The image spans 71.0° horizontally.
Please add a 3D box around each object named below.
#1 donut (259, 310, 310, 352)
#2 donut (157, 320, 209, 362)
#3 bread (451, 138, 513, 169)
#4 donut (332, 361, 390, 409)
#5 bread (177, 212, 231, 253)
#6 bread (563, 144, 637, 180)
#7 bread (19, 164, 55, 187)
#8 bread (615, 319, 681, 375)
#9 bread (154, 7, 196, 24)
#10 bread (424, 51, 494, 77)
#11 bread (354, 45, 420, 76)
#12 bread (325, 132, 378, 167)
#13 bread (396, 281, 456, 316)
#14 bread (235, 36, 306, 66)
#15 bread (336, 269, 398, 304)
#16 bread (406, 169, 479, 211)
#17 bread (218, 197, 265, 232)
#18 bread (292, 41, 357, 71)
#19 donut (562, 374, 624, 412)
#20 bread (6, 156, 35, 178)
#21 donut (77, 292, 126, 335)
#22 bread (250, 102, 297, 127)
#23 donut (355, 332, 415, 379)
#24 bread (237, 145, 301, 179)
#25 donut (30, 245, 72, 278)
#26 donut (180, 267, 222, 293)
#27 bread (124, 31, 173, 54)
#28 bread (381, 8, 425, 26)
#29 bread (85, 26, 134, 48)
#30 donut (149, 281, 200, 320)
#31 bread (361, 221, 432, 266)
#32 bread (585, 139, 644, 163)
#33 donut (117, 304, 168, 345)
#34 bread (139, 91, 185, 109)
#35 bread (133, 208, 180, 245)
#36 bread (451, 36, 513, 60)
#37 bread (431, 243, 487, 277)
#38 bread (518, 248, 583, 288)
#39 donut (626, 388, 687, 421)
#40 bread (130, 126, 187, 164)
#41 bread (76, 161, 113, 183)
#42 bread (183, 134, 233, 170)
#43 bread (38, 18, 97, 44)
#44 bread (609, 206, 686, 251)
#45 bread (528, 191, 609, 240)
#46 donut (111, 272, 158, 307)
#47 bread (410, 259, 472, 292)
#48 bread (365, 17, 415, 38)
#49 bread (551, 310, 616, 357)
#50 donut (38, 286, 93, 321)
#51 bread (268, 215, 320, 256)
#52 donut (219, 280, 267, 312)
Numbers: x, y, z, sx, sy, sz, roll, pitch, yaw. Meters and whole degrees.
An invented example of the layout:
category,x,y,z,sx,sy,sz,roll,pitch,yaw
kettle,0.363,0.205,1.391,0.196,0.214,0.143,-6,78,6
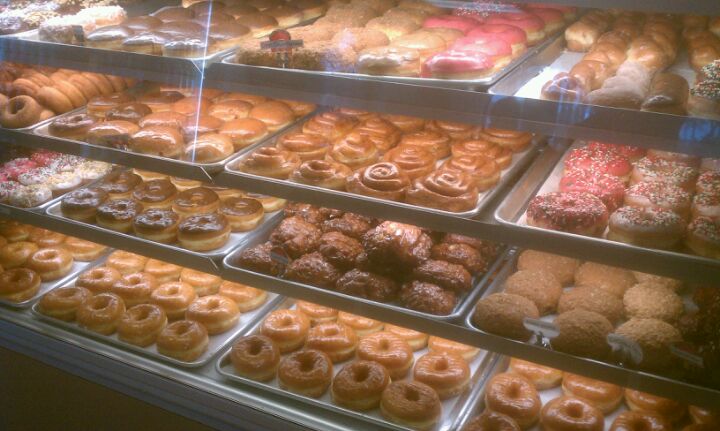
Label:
category,x,y,z,sx,sy,sz,roll,pitch,yaw
donut,-0.453,0.683,3.082,0.312,0.104,0.300,-23,31,-38
donut,-1.076,0.751,3.045,0.298,0.147,0.288,5,20,8
bread,0.691,-0.372,2.830,0.247,0.066,0.221,3,20,11
donut,0.049,0.906,2.839,0.255,0.268,0.093,-30,70,9
bread,-0.966,0.100,3.134,0.338,0.147,0.309,-6,21,-8
bread,1.274,-0.327,2.658,0.238,0.107,0.245,16,26,38
bread,-2.243,-0.276,3.493,0.158,0.049,0.148,0,19,-5
bread,1.395,0.610,2.409,0.257,0.150,0.245,-3,29,-18
bread,-1.128,-1.221,3.049,0.178,0.042,0.168,5,20,7
bread,0.472,-0.725,2.432,0.337,0.132,0.121,7,28,3
bread,0.155,-0.818,2.646,0.408,0.124,0.380,-3,29,-4
bread,-0.030,-0.368,2.853,0.225,0.092,0.215,-17,30,-32
bread,0.352,0.434,2.622,0.227,0.069,0.164,15,34,28
bread,-0.509,-0.930,2.722,0.315,0.089,0.317,-1,47,-2
bread,0.037,0.359,2.701,0.250,0.073,0.171,12,22,15
bread,0.419,-0.120,2.552,0.253,0.130,0.252,13,19,32
bread,-0.776,0.011,3.212,0.232,0.099,0.233,22,24,31
bread,-0.187,-0.847,2.677,0.435,0.110,0.326,14,30,32
donut,1.226,0.961,2.699,0.289,0.094,0.295,-4,4,-42
bread,-2.433,-0.339,3.616,0.168,0.049,0.156,4,30,0
donut,-1.648,0.599,3.201,0.299,0.103,0.282,16,37,14
bread,-0.554,-0.653,3.207,0.212,0.094,0.199,-12,27,-25
donut,0.142,0.796,2.934,0.356,0.107,0.325,-12,30,-30
bread,-0.503,-0.283,2.805,0.236,0.100,0.234,6,18,11
donut,-2.156,0.325,3.516,0.274,0.137,0.257,-14,35,-34
donut,-1.053,0.458,3.397,0.271,0.083,0.268,1,4,5
bread,-1.188,-0.966,2.818,0.164,0.057,0.183,1,23,-2
bread,0.274,-1.158,2.881,0.191,0.056,0.177,-6,32,-9
bread,-1.425,-1.019,2.869,0.174,0.060,0.161,0,27,-1
donut,-1.203,0.523,3.248,0.284,0.105,0.259,-5,39,-21
bread,0.221,0.163,2.792,0.301,0.082,0.281,-10,30,-16
bread,1.408,-0.359,2.771,0.213,0.053,0.216,15,22,38
donut,-1.354,0.655,3.124,0.311,0.115,0.279,-20,34,-38
bread,-1.325,-0.774,3.355,0.211,0.051,0.196,0,22,-2
bread,-1.308,0.100,3.190,0.277,0.151,0.275,7,8,32
bread,0.630,-0.867,2.546,0.197,0.069,0.186,3,26,3
bread,0.552,0.229,2.881,0.348,0.107,0.166,12,36,15
bread,1.059,0.275,2.785,0.268,0.078,0.245,1,23,4
donut,1.496,0.962,2.511,0.260,0.077,0.237,0,6,-4
bread,-1.237,-0.445,3.090,0.340,0.155,0.333,-18,40,-32
bread,-1.893,-0.319,3.582,0.227,0.071,0.211,2,24,-3
bread,-0.913,-0.364,2.990,0.263,0.258,0.118,-13,68,2
bread,-1.744,-1.060,2.974,0.275,0.083,0.199,8,28,14
bread,1.301,0.055,2.272,0.238,0.111,0.231,-4,22,2
bread,1.024,-0.024,2.477,0.368,0.122,0.387,4,33,36
donut,-1.482,0.459,3.331,0.258,0.087,0.242,-13,39,-34
bread,0.444,0.316,2.723,0.284,0.083,0.150,10,30,19
bread,0.192,-1.069,2.835,0.206,0.081,0.192,0,23,-1
bread,1.087,0.576,2.465,0.269,0.134,0.209,13,29,14
donut,-1.955,0.564,3.299,0.288,0.098,0.285,16,10,9
bread,-0.391,0.121,2.984,0.236,0.116,0.241,29,51,23
donut,-0.741,0.509,3.198,0.245,0.073,0.234,17,21,33
